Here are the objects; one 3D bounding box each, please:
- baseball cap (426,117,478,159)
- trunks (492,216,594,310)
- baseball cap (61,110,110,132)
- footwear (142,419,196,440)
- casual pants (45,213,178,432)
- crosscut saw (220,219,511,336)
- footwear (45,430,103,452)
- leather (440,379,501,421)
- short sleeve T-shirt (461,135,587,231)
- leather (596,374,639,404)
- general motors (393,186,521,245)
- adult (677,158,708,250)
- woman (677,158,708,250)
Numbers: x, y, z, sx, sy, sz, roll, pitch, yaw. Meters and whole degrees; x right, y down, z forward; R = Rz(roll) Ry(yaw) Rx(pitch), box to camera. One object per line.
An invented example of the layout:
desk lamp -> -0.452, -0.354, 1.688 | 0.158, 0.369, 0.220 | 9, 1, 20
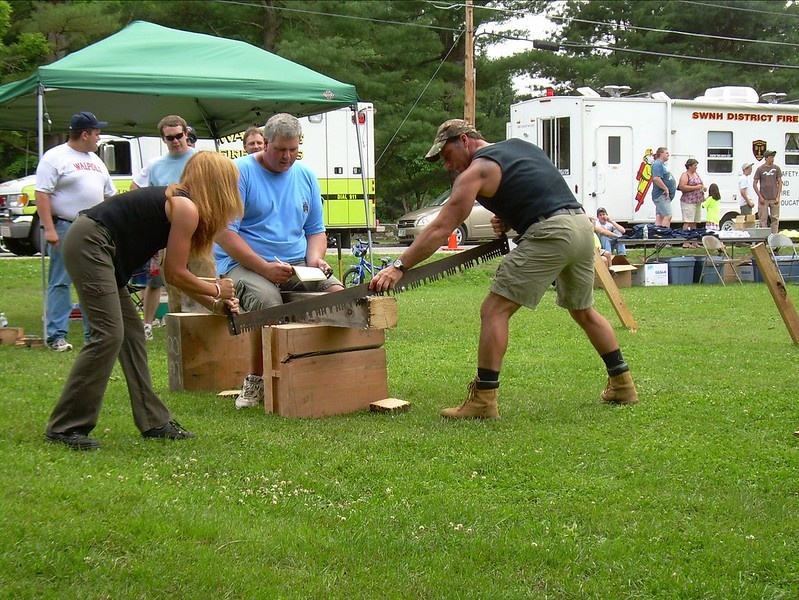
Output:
baseball cap -> 0.433, -1.354, 8.314 | 0.485, 0.221, 0.290 | -23, -5, 7
trunks -> 1.190, -0.312, 8.177 | 0.760, 0.560, 0.300 | 10, 11, -41
baseball cap -> -3.166, -1.842, 10.302 | 0.242, 0.135, 0.371 | 12, 17, 30
footwear -> -1.726, 0.967, 7.523 | 0.432, 0.162, 0.144 | 0, 0, -7
casual pants -> -2.134, 0.201, 7.242 | 0.869, 1.636, 0.372 | -2, 13, -13
crosscut saw -> -0.193, -0.097, 8.134 | 2.464, 0.271, 0.058 | -17, 46, -21
footwear -> -2.328, 1.003, 7.156 | 0.375, 0.141, 0.137 | 3, 5, -3
leather -> 0.623, 0.840, 8.142 | 0.583, 0.361, 0.214 | 2, -2, 4
short sleeve T-shirt -> 1.038, -0.919, 8.185 | 0.845, 0.771, 0.395 | 1, 12, 4
leather -> 1.892, 0.758, 8.595 | 0.190, 0.310, 0.350 | -3, 7, -32
general motors -> 1.345, -2.082, 24.767 | 3.002, 1.261, 1.571 | -1, 3, -21
adult -> 6.171, -2.232, 21.092 | 0.531, 1.457, 0.689 | 4, 13, 15
woman -> 6.123, -2.222, 21.040 | 0.498, 1.457, 0.888 | 6, 13, 25
